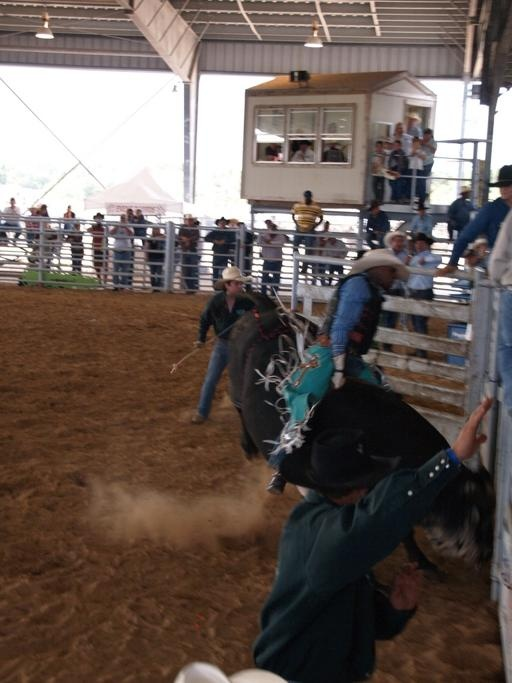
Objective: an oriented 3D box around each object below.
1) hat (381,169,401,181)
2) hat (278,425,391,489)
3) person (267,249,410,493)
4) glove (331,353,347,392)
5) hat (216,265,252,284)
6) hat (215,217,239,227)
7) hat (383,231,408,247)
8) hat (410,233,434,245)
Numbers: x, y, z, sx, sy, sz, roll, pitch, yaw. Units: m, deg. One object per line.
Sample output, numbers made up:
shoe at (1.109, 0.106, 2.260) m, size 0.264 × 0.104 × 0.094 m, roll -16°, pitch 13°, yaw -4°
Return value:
hat at (3.071, -3.744, 11.987) m, size 0.359 × 0.196 × 0.301 m, roll 4°, pitch 7°, yaw 10°
hat at (0.144, 0.223, 0.944) m, size 0.164 × 0.054 × 0.137 m, roll -18°, pitch 20°, yaw -4°
person at (0.442, 0.132, 2.709) m, size 0.613 × 1.282 × 0.542 m, roll 16°, pitch 0°, yaw -25°
glove at (0.345, 0.118, 2.274) m, size 0.046 × 0.129 × 0.101 m, roll 4°, pitch 8°, yaw -6°
hat at (-0.199, -0.607, 4.924) m, size 0.268 × 0.094 × 0.219 m, roll -13°, pitch -6°, yaw 9°
hat at (-0.668, -2.767, 12.338) m, size 0.350 × 0.185 × 0.509 m, roll -5°, pitch -11°, yaw 42°
hat at (1.900, -1.387, 7.222) m, size 0.296 × 0.223 × 0.392 m, roll 6°, pitch 8°, yaw 22°
hat at (2.136, -1.311, 6.820) m, size 0.226 × 0.184 × 0.163 m, roll -18°, pitch 29°, yaw -9°
